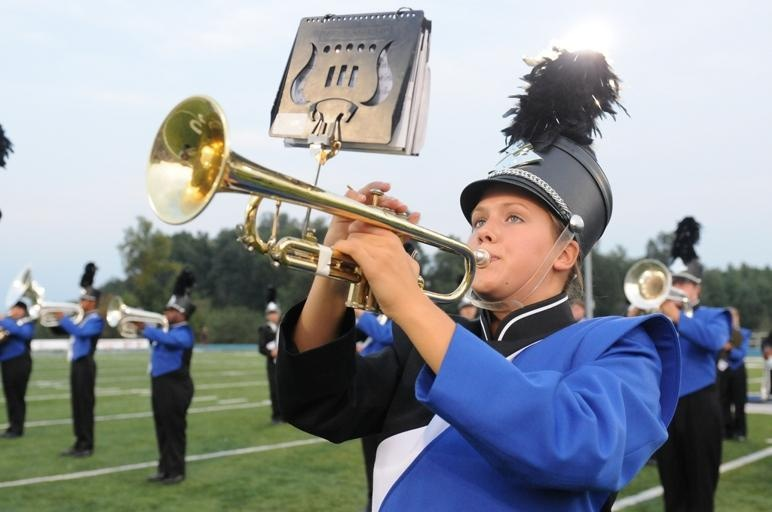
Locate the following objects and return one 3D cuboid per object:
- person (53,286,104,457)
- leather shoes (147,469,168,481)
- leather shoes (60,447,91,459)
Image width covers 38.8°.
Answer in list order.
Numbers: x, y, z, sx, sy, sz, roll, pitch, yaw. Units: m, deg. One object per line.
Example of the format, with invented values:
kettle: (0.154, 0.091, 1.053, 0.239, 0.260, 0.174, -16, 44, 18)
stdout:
person: (-3.282, 1.326, 11.587, 0.763, 0.706, 2.159, 2, 43, -18)
leather shoes: (-2.339, 2.236, 11.119, 0.192, 0.130, 0.066, -1, -45, 4)
leather shoes: (-3.106, 1.975, 10.933, 0.311, 0.122, 0.101, 3, -2, -2)
